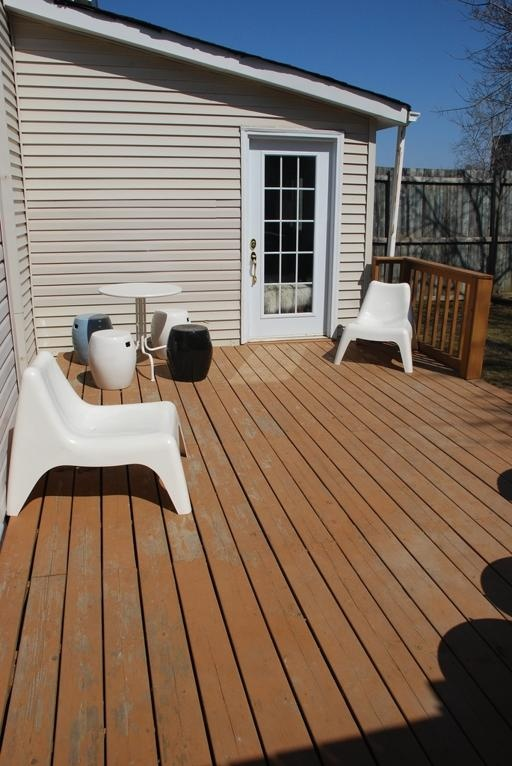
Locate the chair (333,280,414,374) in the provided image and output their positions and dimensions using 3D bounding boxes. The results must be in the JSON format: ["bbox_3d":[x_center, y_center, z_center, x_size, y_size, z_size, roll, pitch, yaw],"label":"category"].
[{"bbox_3d":[1.290,-0.610,4.634,0.678,0.928,0.927,7,14,22],"label":"chair"}]

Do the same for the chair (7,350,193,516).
[{"bbox_3d":[-0.763,0.303,2.305,0.734,0.699,0.726,-1,21,-9],"label":"chair"}]
